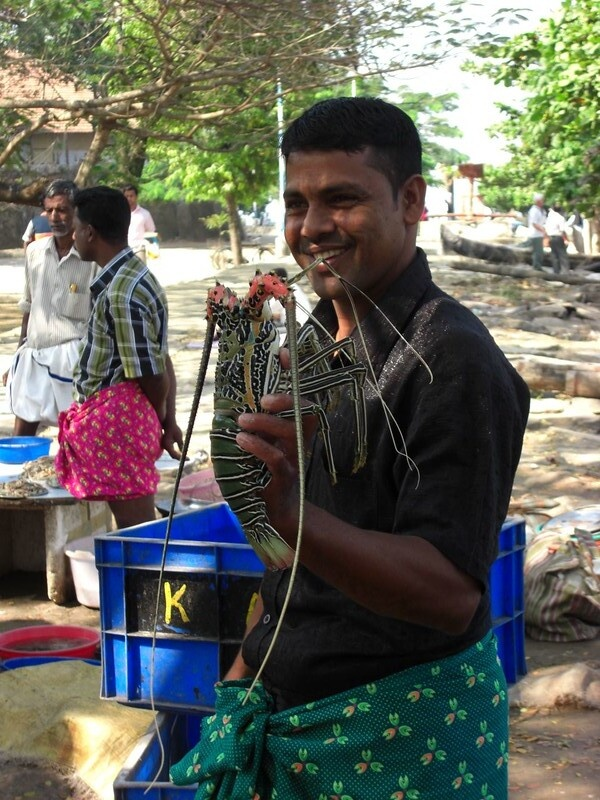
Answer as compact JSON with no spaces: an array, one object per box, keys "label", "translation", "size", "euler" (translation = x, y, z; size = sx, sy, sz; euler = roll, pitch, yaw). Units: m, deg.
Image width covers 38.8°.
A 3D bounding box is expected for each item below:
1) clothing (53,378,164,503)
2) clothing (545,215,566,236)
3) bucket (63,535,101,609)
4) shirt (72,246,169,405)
[{"label":"clothing","translation":[-0.865,0.155,4.049],"size":[0.496,0.510,0.639],"euler":[-7,10,-35]},{"label":"clothing","translation":[5.819,-4.046,19.398],"size":[0.412,0.570,1.113],"euler":[2,3,15]},{"label":"bucket","translation":[-1.189,0.952,4.607],"size":[0.160,0.377,0.388],"euler":[-1,4,-16]},{"label":"shirt","translation":[-0.821,-0.347,4.045],"size":[0.508,0.671,0.844],"euler":[-5,15,-8]}]
